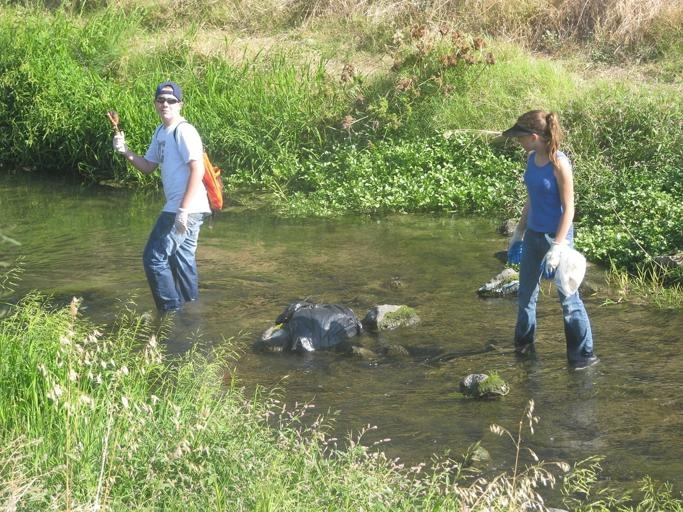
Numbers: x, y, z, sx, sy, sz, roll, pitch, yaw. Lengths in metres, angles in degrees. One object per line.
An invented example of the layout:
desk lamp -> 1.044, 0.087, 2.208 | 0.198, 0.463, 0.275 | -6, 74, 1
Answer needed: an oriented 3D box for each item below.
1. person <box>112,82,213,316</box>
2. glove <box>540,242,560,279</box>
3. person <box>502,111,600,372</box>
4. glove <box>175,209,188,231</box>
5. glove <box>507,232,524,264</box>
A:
person -> -2.008, -0.639, 9.016 | 0.921, 2.602, 0.566 | 5, 9, 13
glove -> 2.052, 0.022, 7.734 | 0.147, 0.401, 0.296 | 2, 8, -8
person -> 2.056, -0.162, 7.869 | 0.784, 2.508, 0.879 | -3, 10, -32
glove -> -1.802, -0.391, 8.745 | 0.127, 0.267, 0.105 | 0, 9, -16
glove -> 1.871, -0.057, 8.396 | 0.216, 0.297, 0.090 | 10, 19, 39
